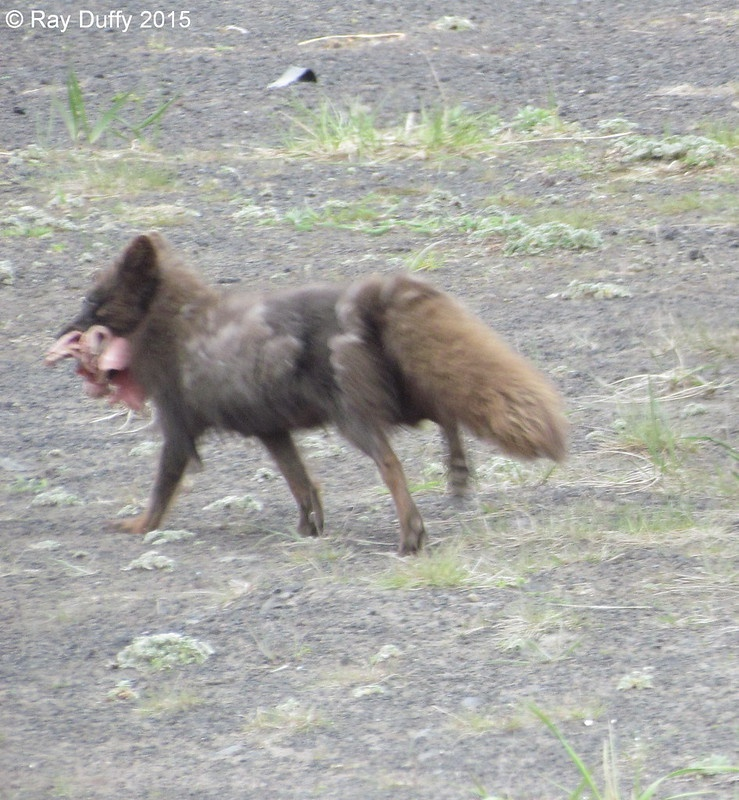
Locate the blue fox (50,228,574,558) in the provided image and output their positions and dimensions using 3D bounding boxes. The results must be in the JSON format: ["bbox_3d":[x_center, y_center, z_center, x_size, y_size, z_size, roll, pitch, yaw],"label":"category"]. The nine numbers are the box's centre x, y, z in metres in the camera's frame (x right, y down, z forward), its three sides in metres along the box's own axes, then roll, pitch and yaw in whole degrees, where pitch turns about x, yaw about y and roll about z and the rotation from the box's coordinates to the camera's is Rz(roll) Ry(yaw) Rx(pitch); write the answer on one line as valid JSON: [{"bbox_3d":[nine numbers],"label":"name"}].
[{"bbox_3d":[-0.115,-0.051,3.617,0.559,0.845,2.277,-28,24,-35],"label":"blue fox"}]
